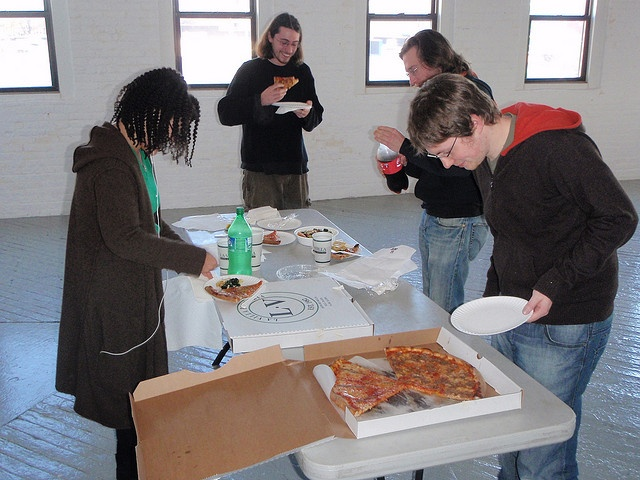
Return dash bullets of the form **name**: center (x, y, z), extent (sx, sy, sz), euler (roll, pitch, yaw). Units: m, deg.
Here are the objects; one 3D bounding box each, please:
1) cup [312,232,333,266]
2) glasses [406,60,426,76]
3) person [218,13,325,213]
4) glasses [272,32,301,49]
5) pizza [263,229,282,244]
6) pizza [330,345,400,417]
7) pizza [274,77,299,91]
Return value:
- **cup**: center (0.010, 0.035, 2.008), extent (0.128, 0.131, 0.116), euler (-1, 2, -5)
- **glasses**: center (0.453, -0.832, 2.343), extent (0.051, 0.031, 0.064), euler (-1, 6, 38)
- **person**: center (-0.262, -0.815, 3.177), extent (0.691, 1.278, 0.506), euler (-15, 23, -32)
- **glasses**: center (-0.222, -1.278, 3.087), extent (0.106, 0.050, 0.128), euler (-3, 13, -11)
- **pizza**: center (-0.228, -0.017, 2.269), extent (0.060, 0.018, 0.059), euler (19, 28, 33)
- **pizza**: center (0.096, 0.372, 1.265), extent (0.197, 0.038, 0.182), euler (-15, 22, -37)
- **pizza**: center (-0.220, -0.991, 3.057), extent (0.155, 0.048, 0.130), euler (6, 51, -4)
